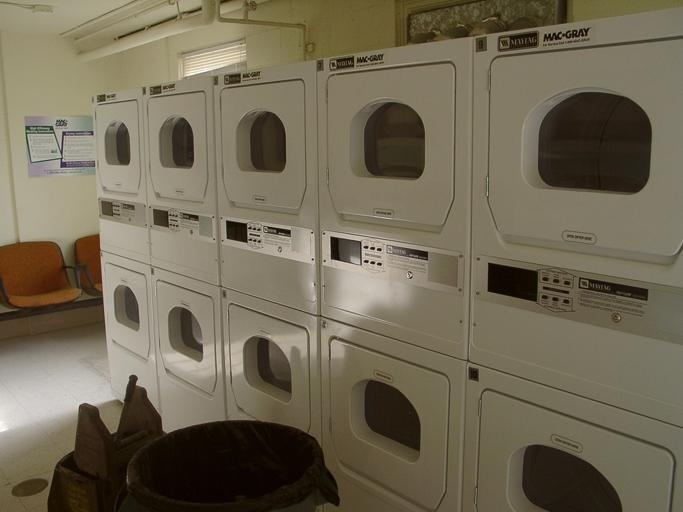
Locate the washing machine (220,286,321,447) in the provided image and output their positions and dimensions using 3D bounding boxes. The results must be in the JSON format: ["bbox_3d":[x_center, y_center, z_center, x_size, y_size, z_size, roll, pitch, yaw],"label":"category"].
[{"bbox_3d":[-0.366,0.596,2.794,0.243,0.864,0.675,-8,10,-41],"label":"washing machine"}]
